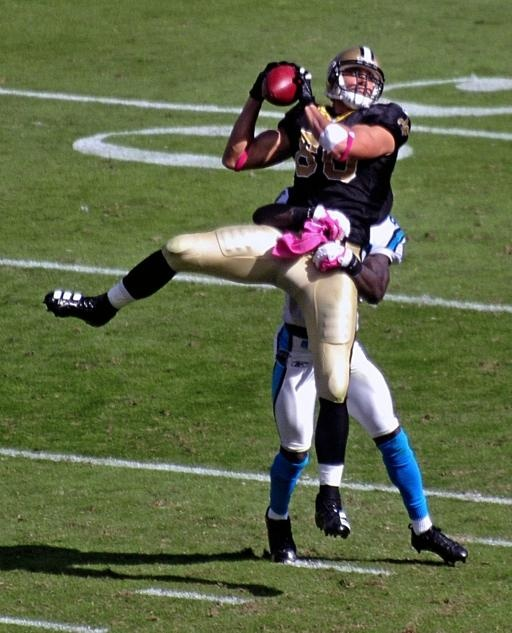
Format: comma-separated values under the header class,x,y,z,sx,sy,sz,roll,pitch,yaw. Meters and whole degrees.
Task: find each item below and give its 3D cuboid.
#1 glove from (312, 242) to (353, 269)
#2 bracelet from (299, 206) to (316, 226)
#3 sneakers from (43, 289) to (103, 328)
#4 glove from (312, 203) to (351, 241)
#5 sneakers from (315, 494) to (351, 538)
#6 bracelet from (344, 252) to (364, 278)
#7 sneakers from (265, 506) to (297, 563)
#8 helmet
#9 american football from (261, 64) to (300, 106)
class,x,y,z,sx,sy,sz,roll,pitch,yaw
glove,0.411,-0.321,7.291,0.194,0.082,0.147,-2,6,38
bracelet,0.273,-0.540,7.417,0.083,0.094,0.038,5,-10,34
sneakers,-1.013,-0.063,8.030,0.451,0.136,0.188,12,-24,-22
glove,0.409,-0.511,7.346,0.231,0.081,0.169,22,17,-21
sneakers,0.397,1.077,7.294,0.163,0.201,0.231,1,14,-6
bracelet,0.516,-0.262,7.343,0.117,0.125,0.121,-14,-43,15
sneakers,0.147,1.273,7.878,0.121,0.291,0.142,-11,-9,16
helmet,0.564,-1.318,7.672,0.334,0.312,0.395,11,-2,-11
american football,0.126,-1.265,7.511,0.195,0.227,0.168,1,14,-5
